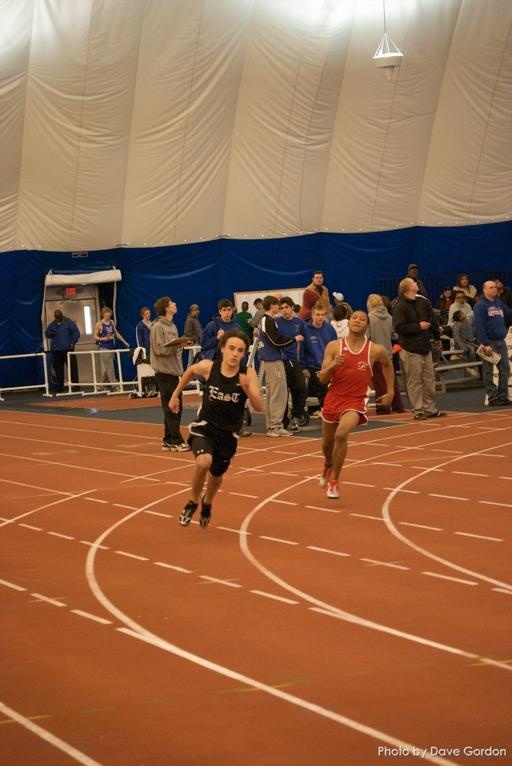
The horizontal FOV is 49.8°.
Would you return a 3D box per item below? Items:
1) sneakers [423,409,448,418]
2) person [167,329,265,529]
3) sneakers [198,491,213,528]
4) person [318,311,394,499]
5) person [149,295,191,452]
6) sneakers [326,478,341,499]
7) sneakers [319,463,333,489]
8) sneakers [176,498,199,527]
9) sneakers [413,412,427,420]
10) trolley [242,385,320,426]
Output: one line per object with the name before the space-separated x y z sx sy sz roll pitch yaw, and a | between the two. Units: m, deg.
sneakers | 4.324 0.670 13.347 0.648 0.285 0.219 -5 11 -27
person | -0.488 0.672 5.973 0.686 1.928 1.360 -2 4 -43
sneakers | -0.570 1.365 5.982 0.124 0.386 0.264 1 -27 -7
person | 1.275 0.275 7.166 0.889 2.448 0.865 1 3 7
person | -1.743 -0.245 11.646 0.904 3.215 1.075 -2 -3 -7
sneakers | 0.973 1.331 6.896 0.103 0.139 0.313 1 6 2
sneakers | 0.933 1.324 7.424 0.149 0.349 0.125 8 42 4
sneakers | -0.732 1.422 5.939 0.127 0.380 0.170 13 -37 7
sneakers | 3.907 0.782 13.125 0.296 0.205 0.169 2 3 12
trolley | 0.879 0.412 13.196 1.025 1.088 0.760 0 4 9
